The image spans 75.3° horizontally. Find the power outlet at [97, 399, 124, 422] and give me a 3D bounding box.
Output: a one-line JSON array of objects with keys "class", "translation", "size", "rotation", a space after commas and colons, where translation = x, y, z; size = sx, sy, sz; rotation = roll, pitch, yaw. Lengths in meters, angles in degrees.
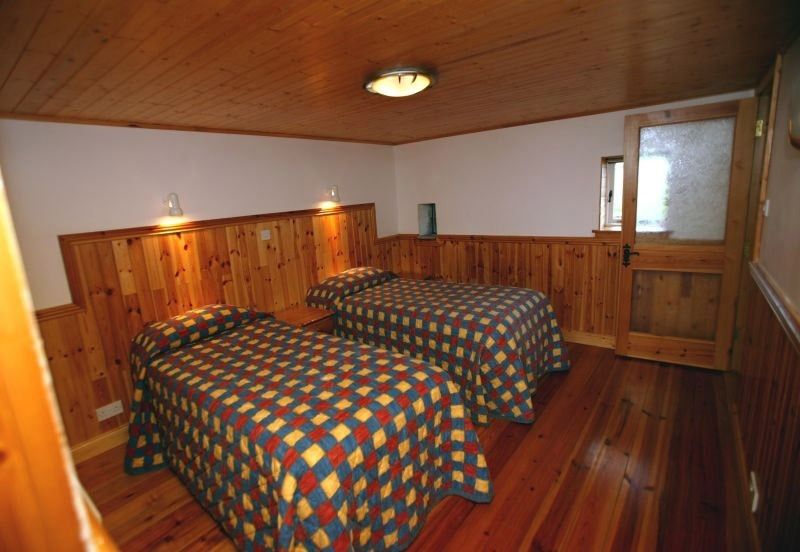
[{"class": "power outlet", "translation": [-2.371, 1.088, 4.201], "size": [0.024, 0.138, 0.186], "rotation": [9, 13, 35]}]

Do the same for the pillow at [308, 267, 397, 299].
[{"class": "pillow", "translation": [-0.504, 0.047, 5.458], "size": [0.362, 0.133, 0.632], "rotation": [8, 21, 44]}]

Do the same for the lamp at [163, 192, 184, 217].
[{"class": "lamp", "translation": [-1.935, -0.614, 4.424], "size": [0.132, 0.203, 0.145], "rotation": [-7, 9, -23]}]

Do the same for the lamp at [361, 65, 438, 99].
[{"class": "lamp", "translation": [-0.012, -1.329, 3.548], "size": [0.506, 0.105, 0.377], "rotation": [-1, 7, 18]}]

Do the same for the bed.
[{"class": "bed", "translation": [0.241, 0.434, 4.767], "size": [1.910, 0.649, 1.200], "rotation": [8, 20, 31]}]
